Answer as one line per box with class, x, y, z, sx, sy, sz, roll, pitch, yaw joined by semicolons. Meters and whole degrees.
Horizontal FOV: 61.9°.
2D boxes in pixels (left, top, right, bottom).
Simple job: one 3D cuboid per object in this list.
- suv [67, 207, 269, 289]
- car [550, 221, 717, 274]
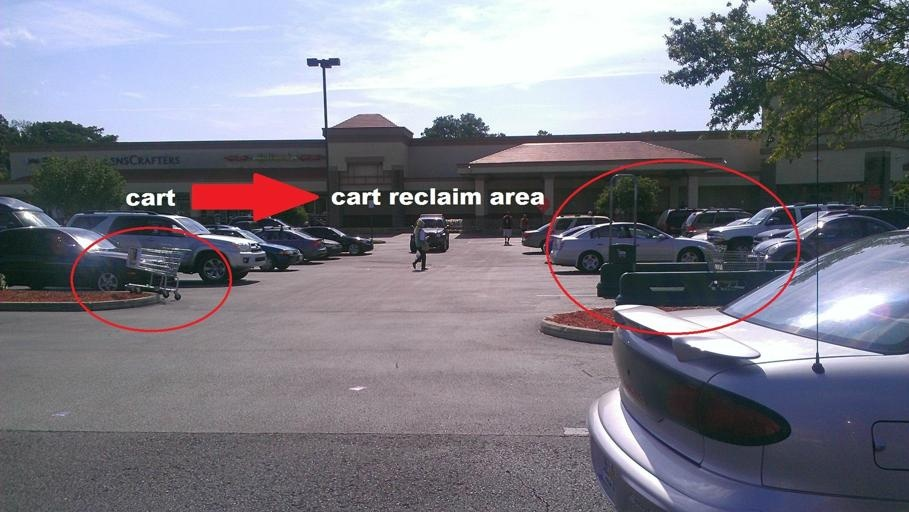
suv;-9.275;-0.280;24.878;5.848;2.108;2.605;0;2;-4
car;6.359;-0.381;26.613;5.456;1.557;2.259;-2;2;1
